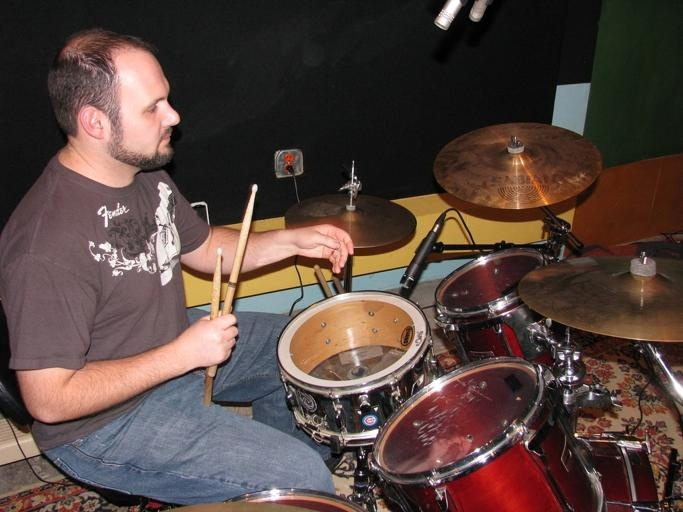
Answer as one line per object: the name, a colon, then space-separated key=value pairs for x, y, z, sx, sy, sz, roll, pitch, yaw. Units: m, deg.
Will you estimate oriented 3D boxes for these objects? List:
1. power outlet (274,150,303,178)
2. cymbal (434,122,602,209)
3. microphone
power outlet: x=-0.295 y=-0.495 z=2.980 sx=0.155 sy=0.147 sz=0.137 roll=-2 pitch=39 yaw=-16
cymbal: x=0.764 y=-0.392 z=2.472 sx=0.690 sy=0.321 sz=0.394 roll=1 pitch=23 yaw=16
microphone: x=0.424 y=-0.040 z=2.901 sx=0.081 sy=0.074 sz=0.548 roll=32 pitch=59 yaw=-1
